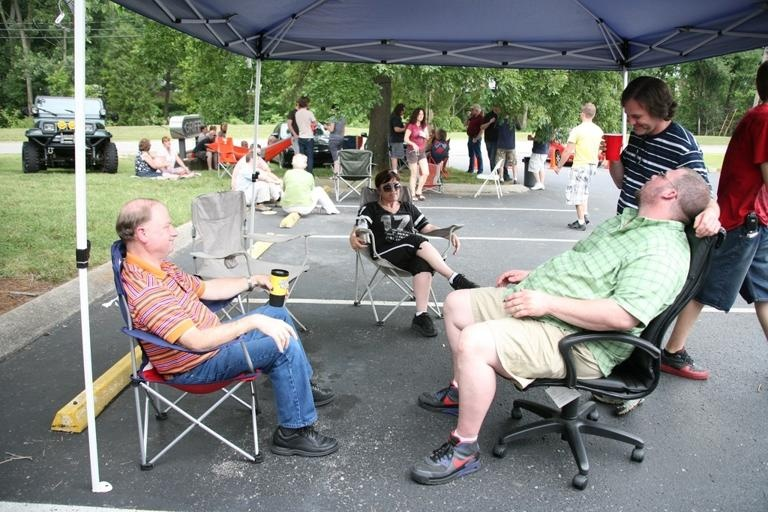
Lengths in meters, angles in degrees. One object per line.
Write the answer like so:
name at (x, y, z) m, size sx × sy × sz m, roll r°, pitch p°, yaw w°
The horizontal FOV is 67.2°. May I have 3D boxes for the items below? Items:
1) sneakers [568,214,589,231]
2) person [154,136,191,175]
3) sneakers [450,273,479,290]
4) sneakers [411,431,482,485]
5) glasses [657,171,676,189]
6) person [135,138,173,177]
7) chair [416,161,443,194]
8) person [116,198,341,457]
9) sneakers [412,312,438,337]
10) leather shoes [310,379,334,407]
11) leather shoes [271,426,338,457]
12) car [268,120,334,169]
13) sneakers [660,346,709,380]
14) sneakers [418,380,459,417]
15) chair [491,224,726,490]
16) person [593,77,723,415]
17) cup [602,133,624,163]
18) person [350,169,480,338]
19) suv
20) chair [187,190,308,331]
sneakers at (3.272, -0.555, 9.708) m, size 0.225 × 0.191 × 0.472 m, roll 1°, pitch 11°, yaw 18°
person at (-5.440, -2.528, 14.418) m, size 0.685 × 0.798 × 0.855 m, roll -13°, pitch 6°, yaw -10°
sneakers at (0.757, 0.246, 5.582) m, size 0.299 × 0.117 × 0.120 m, roll 1°, pitch 12°, yaw 19°
sneakers at (0.412, 1.308, 3.830) m, size 0.576 × 0.256 × 0.207 m, roll -9°, pitch 8°, yaw -23°
glasses at (1.832, -0.489, 3.744) m, size 0.123 × 0.066 × 0.119 m, roll 36°, pitch 15°, yaw 15°
person at (-5.604, -2.389, 14.263) m, size 1.079 × 0.998 × 0.673 m, roll -6°, pitch 27°, yaw -32°
chair at (1.176, -1.856, 13.917) m, size 0.622 × 0.876 × 0.735 m, roll 2°, pitch 5°, yaw 17°
person at (-1.061, 0.480, 3.860) m, size 1.274 × 1.719 × 0.755 m, roll -2°, pitch 13°, yaw -6°
sneakers at (0.398, 0.654, 5.473) m, size 0.144 × 0.138 × 0.294 m, roll -1°, pitch 8°, yaw -34°
leather shoes at (-0.443, 1.073, 4.481) m, size 0.284 × 0.117 × 0.106 m, roll 0°, pitch 6°, yaw -7°
leather shoes at (-0.543, 1.262, 3.989) m, size 0.465 × 0.201 × 0.187 m, roll 2°, pitch 4°, yaw -5°
car at (-2.397, -3.179, 16.484) m, size 1.239 × 0.896 × 2.562 m, roll -4°, pitch 9°, yaw -26°
sneakers at (2.454, 0.897, 4.907) m, size 0.519 × 0.235 × 0.192 m, roll 5°, pitch 6°, yaw 18°
sneakers at (0.428, 1.082, 4.382) m, size 0.413 × 0.174 × 0.156 m, roll 7°, pitch 5°, yaw 22°
chair at (1.436, 0.642, 3.979) m, size 1.278 × 1.564 × 0.982 m, roll 3°, pitch 10°, yaw 6°
person at (2.264, -0.210, 4.586) m, size 0.895 × 2.391 × 0.750 m, roll -7°, pitch -1°, yaw 42°
cup at (2.006, -0.938, 5.092) m, size 0.247 × 0.247 × 0.222 m, roll -1°, pitch -1°, yaw 5°
person at (0.235, -0.094, 5.666) m, size 1.059 × 1.445 × 1.247 m, roll -5°, pitch 9°, yaw -31°
suv at (-7.489, -2.871, 13.777) m, size 1.453 × 1.856 × 1.774 m, roll 9°, pitch 15°, yaw 37°
chair at (-1.284, 0.096, 5.574) m, size 0.841 × 1.183 × 1.021 m, roll 12°, pitch 18°, yaw 21°
